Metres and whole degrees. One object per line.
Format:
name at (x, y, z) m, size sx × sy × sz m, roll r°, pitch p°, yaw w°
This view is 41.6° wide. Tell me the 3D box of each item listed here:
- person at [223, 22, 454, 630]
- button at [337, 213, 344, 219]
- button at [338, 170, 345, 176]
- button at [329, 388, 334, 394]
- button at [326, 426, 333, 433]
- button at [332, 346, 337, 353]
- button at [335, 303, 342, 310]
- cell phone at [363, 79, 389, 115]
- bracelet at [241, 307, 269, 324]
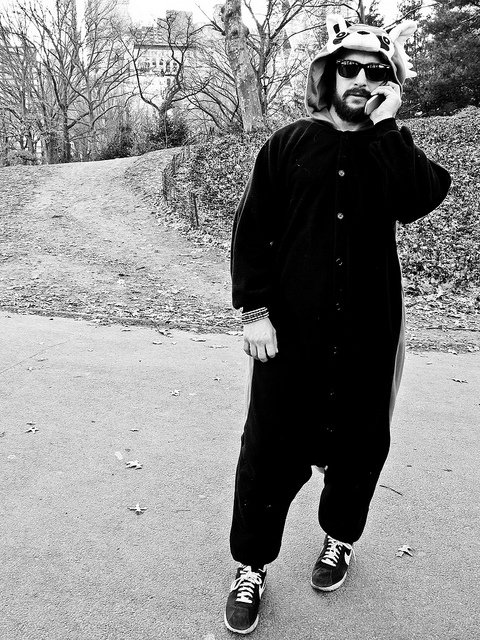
person at (0.286, 0.018, 2.469) m, size 0.807 × 2.255 × 0.464 m, roll -4°, pitch 15°, yaw -22°
button at (0.358, -0.373, 2.245) m, size 0.021 × 0.022 × 0.005 m, roll 1°, pitch -2°, yaw 2°
button at (0.362, -0.525, 2.244) m, size 0.020 × 0.020 × 0.009 m, roll 3°, pitch 14°, yaw 4°
button at (0.340, 0.261, 2.330) m, size 0.013 × 0.024 × 0.012 m, roll -7°, pitch 9°, yaw -44°
button at (0.335, 0.409, 2.366) m, size 0.022 × 0.027 × 0.004 m, roll -1°, pitch 14°, yaw -11°
button at (0.346, 0.106, 2.301) m, size 0.016 × 0.023 × 0.004 m, roll 0°, pitch 14°, yaw -6°
button at (0.357, -0.051, 2.283) m, size 0.025 × 0.023 × 0.004 m, roll 1°, pitch 14°, yaw -6°
cell phone at (0.502, -0.805, 2.344) m, size 0.076 × 0.074 × 0.055 m, roll 3°, pitch 14°, yaw 2°
bracelet at (0.062, -0.012, 2.340) m, size 0.072 × 0.032 × 0.063 m, roll -10°, pitch -4°, yaw -6°
